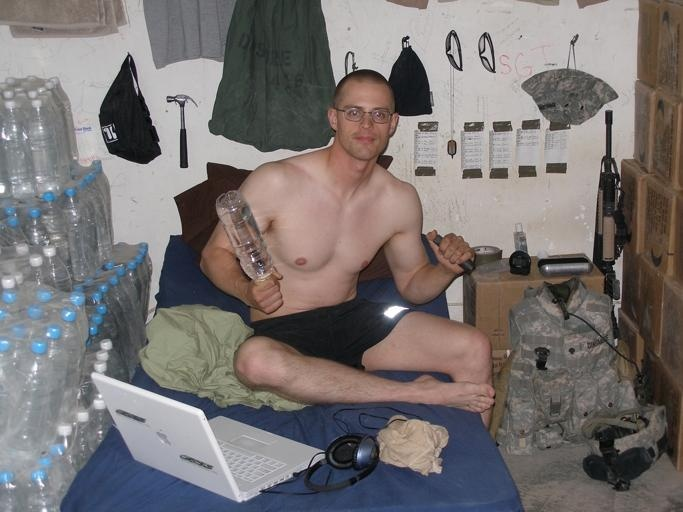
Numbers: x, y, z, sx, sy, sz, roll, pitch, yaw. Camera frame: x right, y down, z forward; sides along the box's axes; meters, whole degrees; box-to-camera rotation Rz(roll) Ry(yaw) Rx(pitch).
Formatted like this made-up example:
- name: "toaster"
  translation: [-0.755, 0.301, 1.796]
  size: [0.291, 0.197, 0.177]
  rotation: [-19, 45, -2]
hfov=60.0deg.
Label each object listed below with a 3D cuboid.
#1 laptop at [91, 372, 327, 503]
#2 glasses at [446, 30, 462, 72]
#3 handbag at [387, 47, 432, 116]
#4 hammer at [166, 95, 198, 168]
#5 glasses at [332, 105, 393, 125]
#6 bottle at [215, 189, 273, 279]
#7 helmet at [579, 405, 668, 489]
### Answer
- name: "laptop"
  translation: [-0.482, 0.523, 2.214]
  size: [0.616, 0.398, 0.585]
  rotation: [15, 21, 33]
- name: "glasses"
  translation: [0.700, -1.256, 3.648]
  size: [0.122, 0.186, 0.044]
  rotation: [-26, 20, -33]
- name: "handbag"
  translation: [0.428, -1.062, 3.640]
  size: [0.373, 0.461, 0.119]
  rotation: [-1, 13, -2]
- name: "hammer"
  translation: [-1.000, -0.783, 3.747]
  size: [0.188, 0.464, 0.046]
  rotation: [-2, 11, -13]
- name: "glasses"
  translation: [0.112, -0.670, 2.841]
  size: [0.256, 0.081, 0.077]
  rotation: [0, 10, -1]
- name: "bottle"
  translation: [-0.371, -0.068, 2.295]
  size: [0.199, 0.362, 0.163]
  rotation: [-1, 11, -8]
- name: "helmet"
  translation: [1.445, 0.955, 2.987]
  size: [0.454, 0.331, 0.284]
  rotation: [0, 10, -5]
